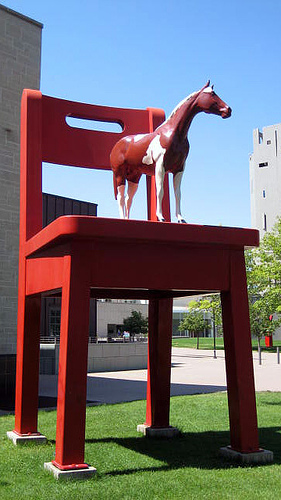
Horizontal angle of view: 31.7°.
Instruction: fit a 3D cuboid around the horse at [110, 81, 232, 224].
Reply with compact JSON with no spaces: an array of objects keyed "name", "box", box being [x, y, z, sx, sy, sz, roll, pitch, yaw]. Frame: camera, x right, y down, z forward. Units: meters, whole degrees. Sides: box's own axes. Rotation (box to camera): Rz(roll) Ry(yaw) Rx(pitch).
[{"name":"horse","box":[0.296,-1.155,6.614,1.764,1.798,0.484,-8,-11,36]}]
